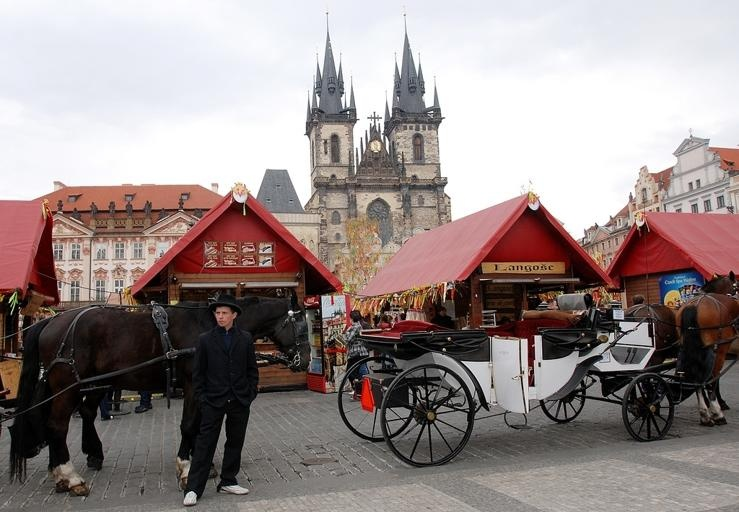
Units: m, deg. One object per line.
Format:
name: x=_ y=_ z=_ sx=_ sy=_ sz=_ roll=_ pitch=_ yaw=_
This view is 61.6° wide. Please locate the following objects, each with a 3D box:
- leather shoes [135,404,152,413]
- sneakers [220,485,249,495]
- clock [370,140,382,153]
leather shoes: x=-5.872 y=3.993 z=16.137 sx=0.137 sy=0.153 sz=0.406 roll=-9 pitch=-17 yaw=44
sneakers: x=-2.045 y=3.530 z=9.456 sx=0.445 sy=0.162 sz=0.159 roll=1 pitch=-3 yaw=3
clock: x=0.954 y=-16.952 z=96.029 sx=1.667 sy=2.266 sz=0.810 roll=2 pitch=-8 yaw=-15
